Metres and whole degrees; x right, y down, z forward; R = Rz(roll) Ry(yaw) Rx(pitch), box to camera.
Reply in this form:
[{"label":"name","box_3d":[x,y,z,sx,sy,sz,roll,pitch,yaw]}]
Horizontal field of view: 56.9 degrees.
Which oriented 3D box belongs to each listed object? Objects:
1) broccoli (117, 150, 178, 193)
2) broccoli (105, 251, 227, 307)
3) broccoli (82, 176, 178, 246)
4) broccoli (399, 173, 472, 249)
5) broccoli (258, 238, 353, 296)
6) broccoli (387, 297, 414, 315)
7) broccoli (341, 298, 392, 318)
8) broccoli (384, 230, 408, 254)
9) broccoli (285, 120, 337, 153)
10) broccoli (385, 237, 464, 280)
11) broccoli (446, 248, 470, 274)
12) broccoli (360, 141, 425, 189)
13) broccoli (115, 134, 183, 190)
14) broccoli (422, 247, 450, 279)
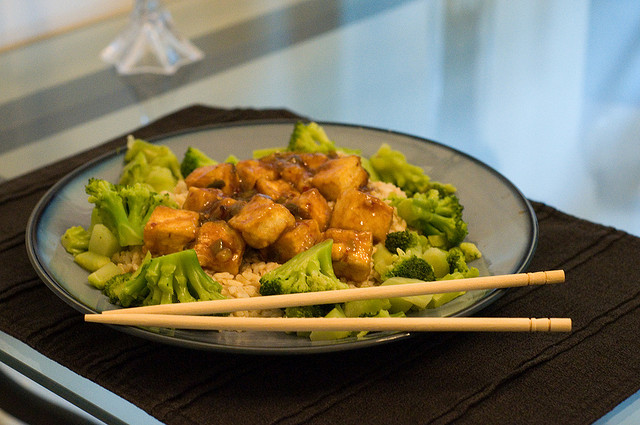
[{"label":"broccoli","box_3d":[-0.804,-0.196,2.834,0.207,0.064,0.210,39,38,15]},{"label":"broccoli","box_3d":[-0.657,0.238,2.182,0.224,0.118,0.308,33,16,33]},{"label":"broccoli","box_3d":[-0.805,-0.020,2.444,0.323,0.227,0.318,5,-11,-19]},{"label":"broccoli","box_3d":[0.505,-0.024,2.610,0.271,0.145,0.337,-22,58,-15]},{"label":"broccoli","box_3d":[-0.067,0.228,2.250,0.196,0.102,0.248,-10,23,-1]},{"label":"broccoli","box_3d":[0.291,0.341,2.165,0.078,0.085,0.063,19,61,-15]},{"label":"broccoli","box_3d":[0.170,0.338,2.117,0.120,0.095,0.037,-2,45,-4]},{"label":"broccoli","box_3d":[0.318,0.122,2.489,0.076,0.052,0.088,-17,53,40]},{"label":"broccoli","box_3d":[-0.055,-0.356,3.001,0.209,0.113,0.186,3,-11,-30]},{"label":"broccoli","box_3d":[0.416,0.171,2.491,0.306,0.096,0.305,-4,17,-26]},{"label":"broccoli","box_3d":[0.546,0.186,2.362,0.072,0.056,0.099,-10,50,-12]},{"label":"broccoli","box_3d":[0.348,-0.217,2.876,0.109,0.266,0.240,-17,81,-39]},{"label":"broccoli","box_3d":[-0.840,-0.254,2.881,0.308,0.105,0.278,0,54,-32]},{"label":"broccoli","box_3d":[0.476,0.198,2.396,0.115,0.085,0.029,59,18,17]}]
